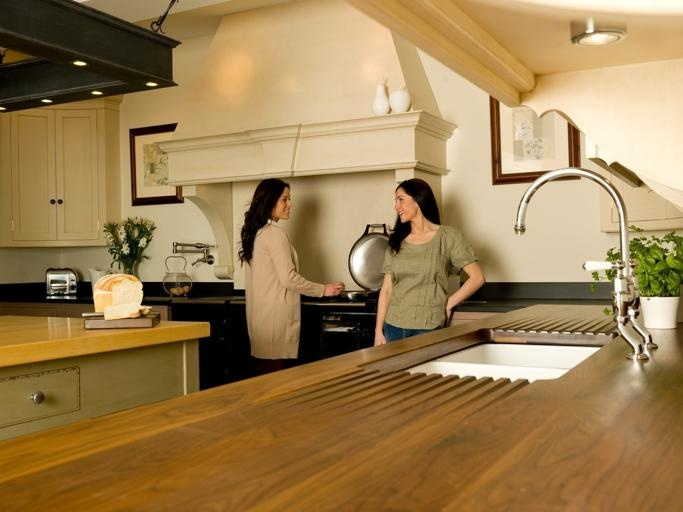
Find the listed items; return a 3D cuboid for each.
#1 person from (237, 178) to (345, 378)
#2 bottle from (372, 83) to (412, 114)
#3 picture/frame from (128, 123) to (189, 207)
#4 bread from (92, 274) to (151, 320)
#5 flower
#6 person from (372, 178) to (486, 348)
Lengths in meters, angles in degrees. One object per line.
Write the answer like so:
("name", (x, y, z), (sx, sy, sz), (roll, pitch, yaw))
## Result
("person", (-0.434, 0.135, 3.447), (0.537, 1.373, 0.422), (0, 1, 37))
("bottle", (0.401, -1.201, 3.722), (0.288, 0.272, 0.173), (1, 5, 23))
("picture/frame", (-2.019, -0.982, 5.262), (0.688, 0.864, 0.121), (0, 1, 27))
("bread", (-1.006, 0.183, 2.283), (0.267, 0.258, 0.194), (0, -5, -10))
("flower", (-2.244, -0.120, 5.456), (0.647, 0.750, 0.609), (-1, 1, 30))
("person", (0.543, 0.040, 3.020), (0.676, 1.057, 0.349), (-1, 1, 4))
